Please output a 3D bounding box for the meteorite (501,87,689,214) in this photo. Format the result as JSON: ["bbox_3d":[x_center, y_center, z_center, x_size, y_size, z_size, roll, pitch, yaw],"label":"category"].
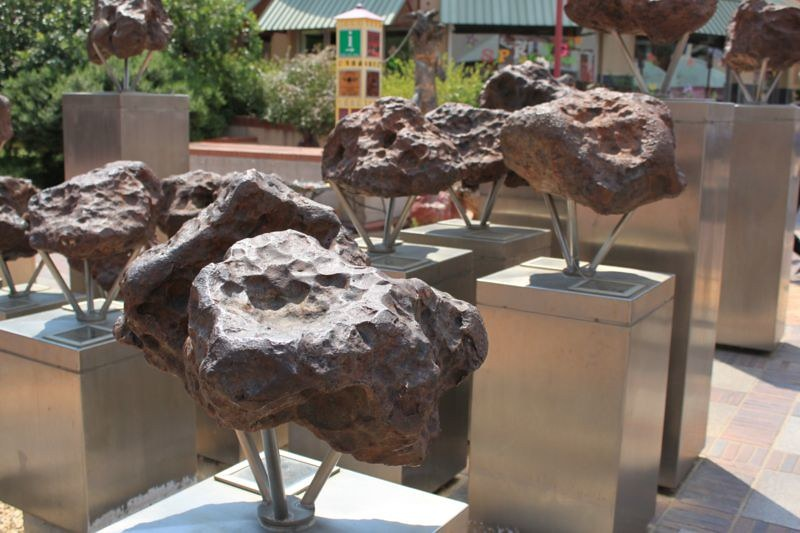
[{"bbox_3d":[1.387,-0.941,6.789,1.044,0.430,1.022,-21,44,-31],"label":"meteorite"}]

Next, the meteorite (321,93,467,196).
[{"bbox_3d":[-0.027,-1.092,7.864,1.183,0.757,1.222,5,14,11],"label":"meteorite"}]

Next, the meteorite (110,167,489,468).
[{"bbox_3d":[-0.603,0.396,5.601,2.145,0.801,1.601,19,34,30],"label":"meteorite"}]

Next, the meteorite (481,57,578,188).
[{"bbox_3d":[1.150,-1.404,8.680,0.860,1.205,0.520,-5,-3,11],"label":"meteorite"}]

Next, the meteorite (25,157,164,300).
[{"bbox_3d":[-2.356,-0.315,7.070,0.850,0.859,0.944,-11,20,-37],"label":"meteorite"}]
